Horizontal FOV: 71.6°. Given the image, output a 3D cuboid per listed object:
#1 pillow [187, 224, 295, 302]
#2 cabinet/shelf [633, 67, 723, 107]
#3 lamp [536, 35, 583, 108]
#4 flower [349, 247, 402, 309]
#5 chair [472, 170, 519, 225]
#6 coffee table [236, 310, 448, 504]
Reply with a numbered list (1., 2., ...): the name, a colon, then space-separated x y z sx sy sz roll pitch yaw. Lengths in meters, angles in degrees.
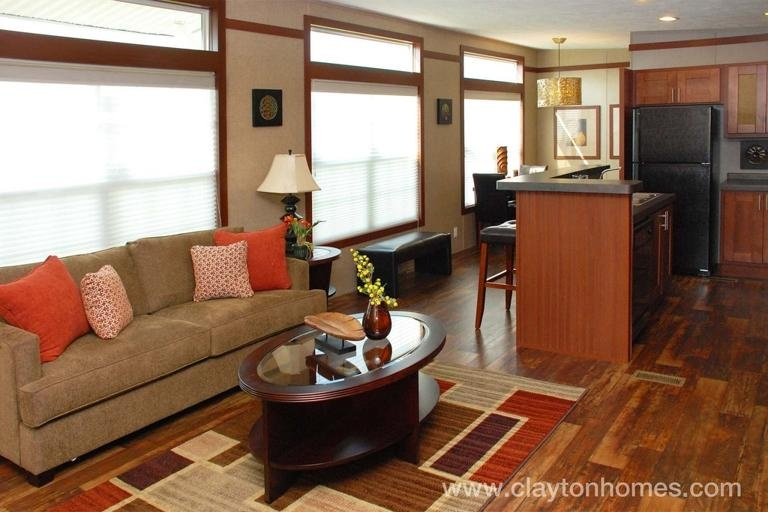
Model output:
1. pillow: -1.234 0.066 4.594 0.730 0.630 0.204 -3 -5 -18
2. cabinet/shelf: 3.909 -2.266 7.116 1.045 0.481 0.158 2 17 23
3. lamp: 3.072 -3.150 9.256 0.638 1.054 1.656 2 16 22
4. flower: -0.079 0.211 5.481 0.386 0.364 1.167 17 -8 23
5. chair: 1.771 -0.924 8.245 0.806 0.962 0.801 4 11 32
6. coffee table: -0.276 0.916 3.234 0.919 0.515 1.394 9 15 32
